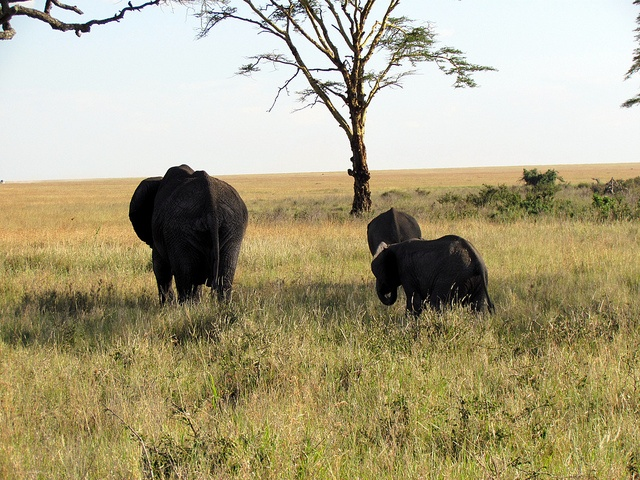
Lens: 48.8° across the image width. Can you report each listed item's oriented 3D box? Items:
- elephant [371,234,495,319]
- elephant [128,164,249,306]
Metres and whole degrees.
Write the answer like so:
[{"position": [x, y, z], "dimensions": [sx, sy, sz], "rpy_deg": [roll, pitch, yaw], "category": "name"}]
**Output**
[{"position": [1.683, 0.707, 11.495], "dimensions": [1.053, 1.565, 2.475], "rpy_deg": [-1, 2, -41], "category": "elephant"}, {"position": [-2.464, 0.099, 12.767], "dimensions": [1.731, 2.692, 3.159], "rpy_deg": [-5, 10, -32], "category": "elephant"}]
